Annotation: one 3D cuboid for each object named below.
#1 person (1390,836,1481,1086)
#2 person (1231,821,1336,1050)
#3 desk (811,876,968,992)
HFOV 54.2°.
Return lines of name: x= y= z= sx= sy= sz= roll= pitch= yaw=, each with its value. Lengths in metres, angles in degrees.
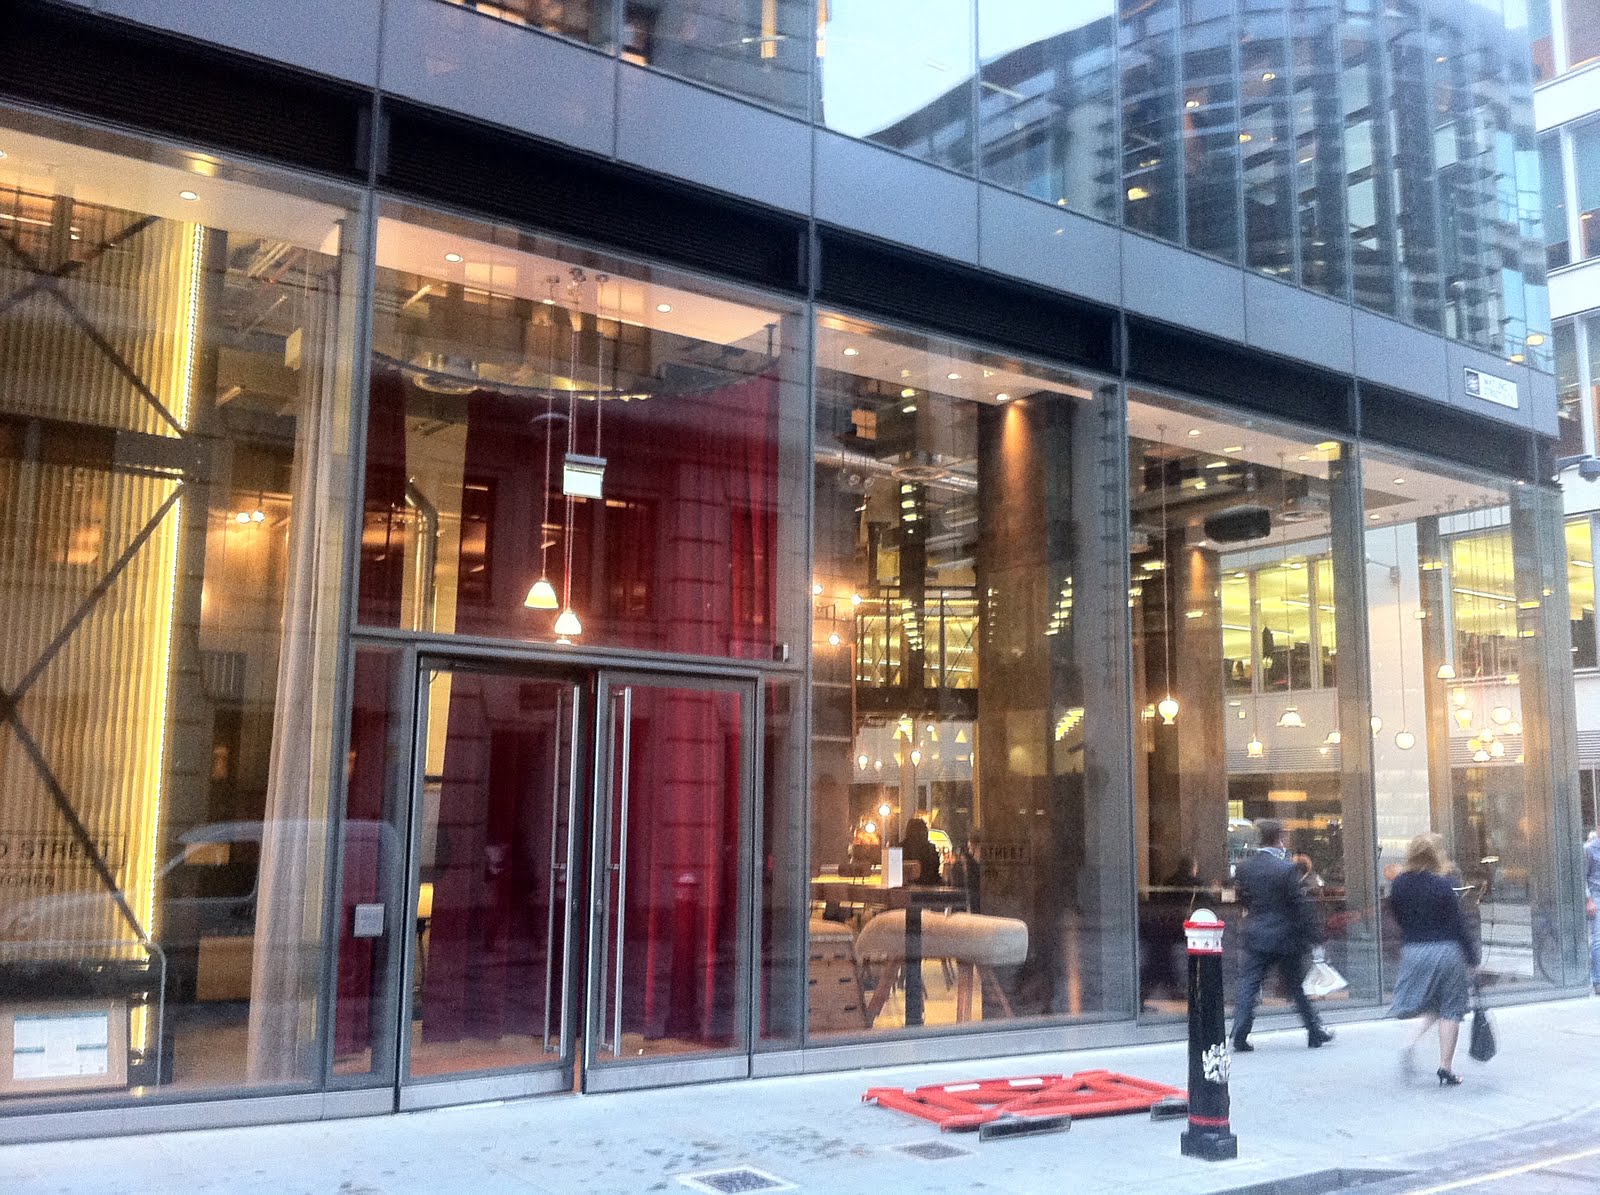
person: x=5.157 y=2.942 z=12.716 sx=0.658 sy=1.947 sz=0.668 roll=-5 pitch=-9 yaw=21
person: x=4.225 y=3.045 z=14.065 sx=0.749 sy=2.015 sz=0.773 roll=-3 pitch=-9 yaw=14
desk: x=0.635 y=2.936 z=12.966 sx=1.283 sy=0.634 sz=0.774 roll=1 pitch=-3 yaw=-14
